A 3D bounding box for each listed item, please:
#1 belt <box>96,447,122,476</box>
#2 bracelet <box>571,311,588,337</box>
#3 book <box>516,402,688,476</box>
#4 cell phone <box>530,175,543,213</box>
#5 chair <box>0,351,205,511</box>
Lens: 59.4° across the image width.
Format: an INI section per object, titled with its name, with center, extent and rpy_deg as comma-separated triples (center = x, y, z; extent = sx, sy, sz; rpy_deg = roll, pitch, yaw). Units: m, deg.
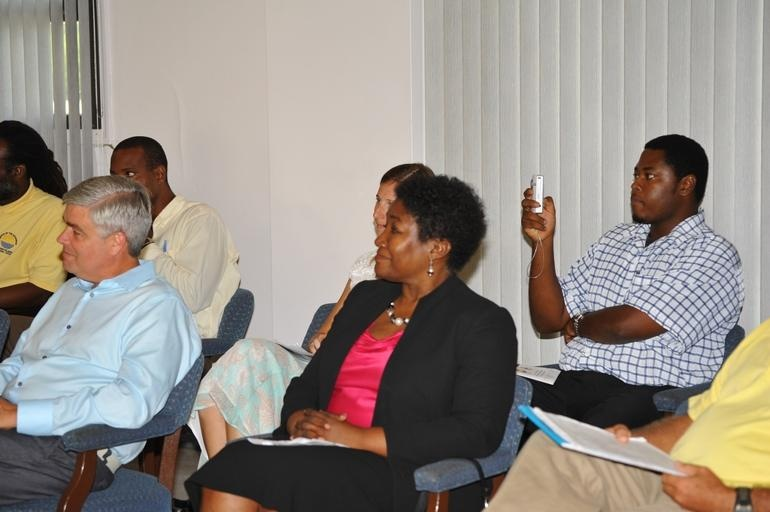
[belt]
center = -1.165, 0.853, 2.891
extent = 0.108, 0.119, 0.039
rpy_deg = 13, 40, 33
[bracelet]
center = 1.004, 0.344, 3.499
extent = 0.071, 0.106, 0.112
rpy_deg = 28, 60, 30
[book]
center = 0.796, 0.673, 2.474
extent = 0.597, 0.190, 0.272
rpy_deg = 5, 6, -12
[cell phone]
center = 0.814, -0.331, 3.558
extent = 0.035, 0.174, 0.087
rpy_deg = -1, -1, -2
[chair]
center = -1.160, 0.761, 2.977
extent = 0.481, 0.661, 0.421
rpy_deg = 22, -25, -27
